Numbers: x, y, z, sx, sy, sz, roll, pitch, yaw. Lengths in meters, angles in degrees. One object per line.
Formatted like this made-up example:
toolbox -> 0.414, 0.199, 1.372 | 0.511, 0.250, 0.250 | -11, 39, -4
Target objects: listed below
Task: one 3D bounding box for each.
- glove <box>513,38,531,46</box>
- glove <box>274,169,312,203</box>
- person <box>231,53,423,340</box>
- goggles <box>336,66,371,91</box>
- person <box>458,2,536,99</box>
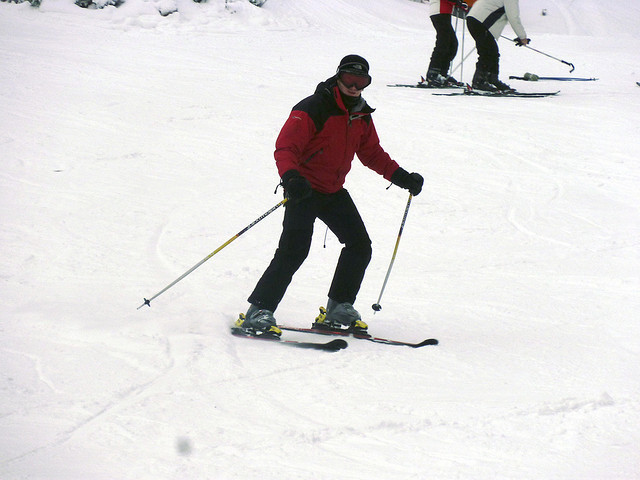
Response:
glove -> 2.962, -2.878, 11.724 | 0.227, 0.055, 0.134 | 1, -5, -1
glove -> -0.200, -0.430, 6.266 | 0.250, 0.226, 0.140 | 26, 23, 33
person -> 0.065, -0.304, 6.549 | 1.068, 2.375, 0.759 | 12, 22, -13
goggles -> 0.277, -1.281, 6.388 | 0.202, 0.080, 0.210 | 8, 23, -19
person -> 2.501, -2.752, 11.795 | 1.003, 1.460, 0.523 | 16, 21, 3
